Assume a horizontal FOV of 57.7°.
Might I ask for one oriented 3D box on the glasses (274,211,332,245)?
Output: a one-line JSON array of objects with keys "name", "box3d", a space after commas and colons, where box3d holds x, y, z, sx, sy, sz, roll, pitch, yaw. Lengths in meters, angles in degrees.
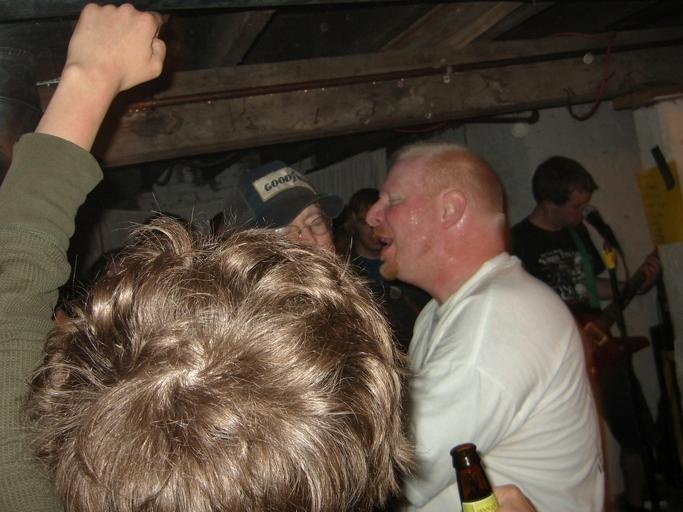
[{"name": "glasses", "box3d": [-0.199, -0.138, 2.989, 0.155, 0.113, 0.253, -43, -8, 7]}]
